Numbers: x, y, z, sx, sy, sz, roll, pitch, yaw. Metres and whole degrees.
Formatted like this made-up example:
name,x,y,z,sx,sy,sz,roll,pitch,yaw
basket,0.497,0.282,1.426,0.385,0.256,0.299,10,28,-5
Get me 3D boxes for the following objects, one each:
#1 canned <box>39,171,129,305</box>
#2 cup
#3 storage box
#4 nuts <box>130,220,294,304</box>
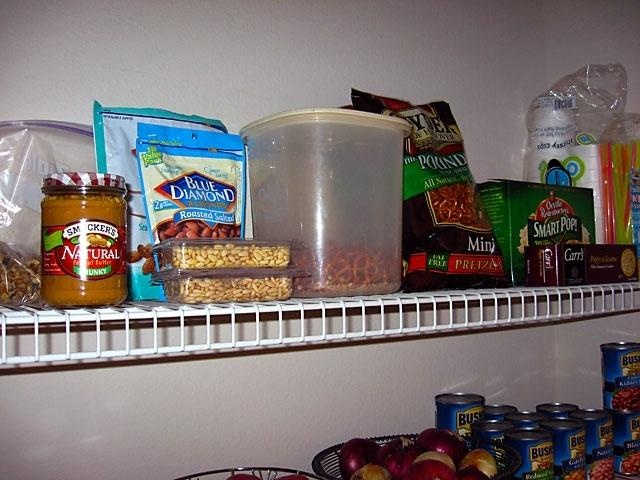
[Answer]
name,x,y,z,sx,sy,sz,roll,pitch,yaw
canned,-0.395,0.003,0.931,0.137,0.214,0.133,1,-5,-34
cup,-0.004,-0.088,1.167,0.322,0.361,0.233,-3,11,-27
storage box,0.021,-0.066,1.085,0.341,0.356,0.140,-1,-5,-9
nuts,-0.164,0.025,0.967,0.211,0.122,0.146,-4,8,-33
